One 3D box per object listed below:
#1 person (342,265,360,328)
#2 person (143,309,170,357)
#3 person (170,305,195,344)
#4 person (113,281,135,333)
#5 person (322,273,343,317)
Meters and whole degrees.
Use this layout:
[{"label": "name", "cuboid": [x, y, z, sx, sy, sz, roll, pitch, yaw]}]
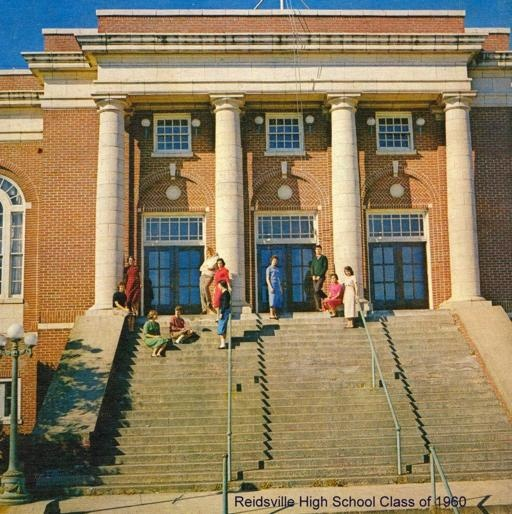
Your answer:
[{"label": "person", "cuboid": [2.534, 1.074, 21.671, 0.388, 1.620, 1.108, -2, -4, 6]}, {"label": "person", "cuboid": [-2.501, 1.913, 20.448, 0.636, 1.114, 1.283, -1, -4, -8]}, {"label": "person", "cuboid": [-1.880, 1.727, 20.674, 0.609, 0.833, 0.704, -2, 11, -22]}, {"label": "person", "cuboid": [-3.538, 1.331, 21.926, 0.553, 1.297, 1.407, 0, -4, -9]}, {"label": "person", "cuboid": [2.174, 1.092, 22.917, 0.596, 1.226, 1.066, -1, -4, 4]}]
